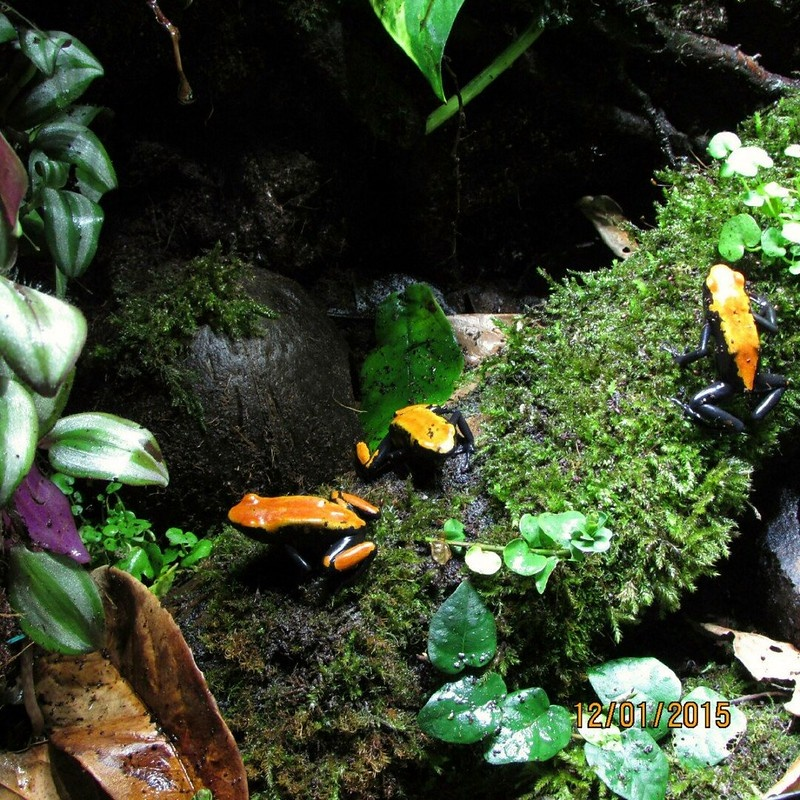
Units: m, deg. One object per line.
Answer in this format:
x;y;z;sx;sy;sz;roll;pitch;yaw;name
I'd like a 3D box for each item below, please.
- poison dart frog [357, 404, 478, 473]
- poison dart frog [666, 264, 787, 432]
0.076;0.157;4.297;0.311;0.124;0.354;33;54;32;poison dart frog
1.318;-0.216;4.113;0.450;0.603;0.296;-9;17;-29;poison dart frog
